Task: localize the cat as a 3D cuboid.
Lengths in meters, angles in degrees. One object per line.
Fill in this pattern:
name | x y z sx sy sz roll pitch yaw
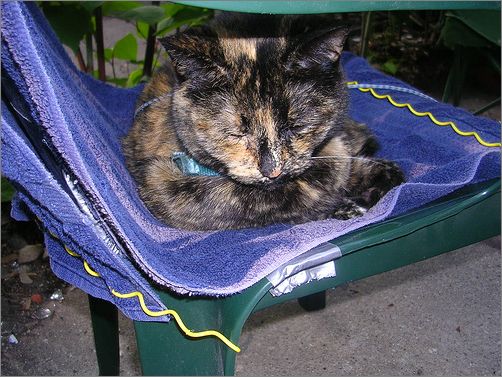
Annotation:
cat | -0.002 -0.127 1.162 0.573 0.359 0.521 -3 45 -5
